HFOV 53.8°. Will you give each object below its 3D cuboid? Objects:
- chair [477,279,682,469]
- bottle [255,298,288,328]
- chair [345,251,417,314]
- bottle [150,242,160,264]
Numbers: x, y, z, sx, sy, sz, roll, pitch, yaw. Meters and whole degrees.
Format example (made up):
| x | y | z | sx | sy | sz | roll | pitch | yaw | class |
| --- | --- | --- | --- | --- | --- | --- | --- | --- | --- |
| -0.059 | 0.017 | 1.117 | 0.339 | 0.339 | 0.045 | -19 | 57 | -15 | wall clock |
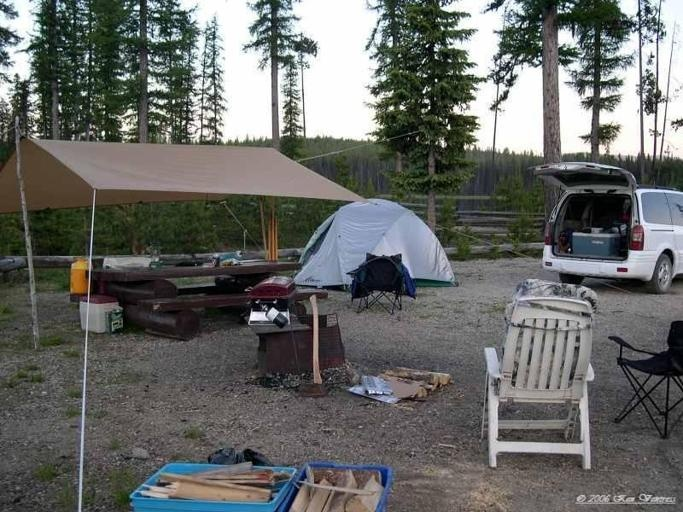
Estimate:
| x | y | z | sx | sy | sz | roll | pitch | yaw | class |
| --- | --- | --- | --- | --- | --- | --- | --- | --- | --- |
| 2.193 | 1.286 | 7.475 | 1.208 | 1.802 | 1.155 | 3 | 14 | 12 | chair |
| -0.908 | 0.731 | 8.706 | 0.411 | 0.358 | 0.447 | 3 | -11 | 0 | bottle |
| 0.758 | 0.500 | 12.472 | 0.992 | 1.085 | 1.072 | 0 | -6 | 1 | chair |
| -3.720 | -0.055 | 13.489 | 0.192 | 0.270 | 0.827 | -13 | 8 | -11 | bottle |
